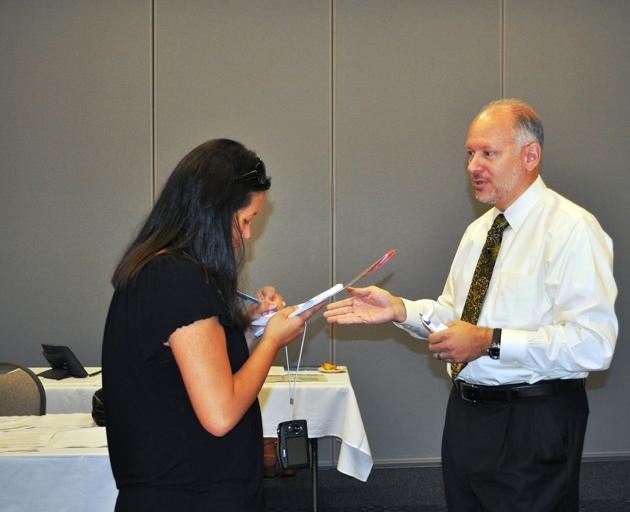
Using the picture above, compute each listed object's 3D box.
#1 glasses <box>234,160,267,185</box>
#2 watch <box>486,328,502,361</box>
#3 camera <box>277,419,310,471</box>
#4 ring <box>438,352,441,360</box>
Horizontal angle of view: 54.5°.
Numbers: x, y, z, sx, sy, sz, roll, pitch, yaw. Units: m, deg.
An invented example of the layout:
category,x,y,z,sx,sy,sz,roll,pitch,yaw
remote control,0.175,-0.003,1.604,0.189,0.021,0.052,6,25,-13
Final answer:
category,x,y,z,sx,sy,sz,roll,pitch,yaw
glasses,-0.211,-0.288,2.011,0.074,0.032,0.081,-12,14,6
watch,0.716,0.350,2.429,0.053,0.119,0.034,1,2,19
camera,-0.069,0.707,2.219,0.114,0.094,0.185,-7,45,-3
ring,0.500,0.404,2.473,0.023,0.028,0.026,-2,-15,21
